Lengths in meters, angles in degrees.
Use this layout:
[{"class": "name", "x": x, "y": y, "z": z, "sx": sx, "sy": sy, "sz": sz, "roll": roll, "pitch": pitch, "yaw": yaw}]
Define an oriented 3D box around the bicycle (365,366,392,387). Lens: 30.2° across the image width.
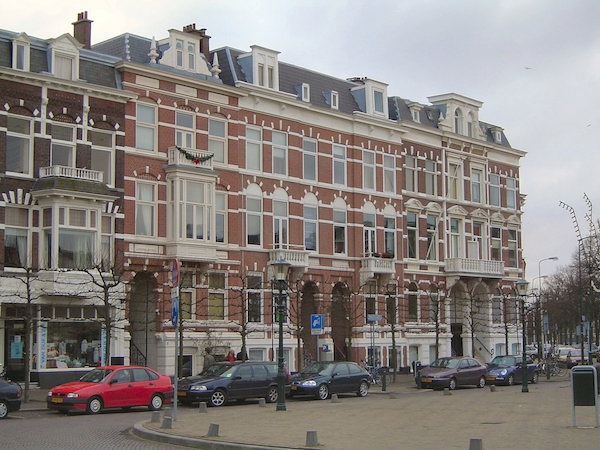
[{"class": "bicycle", "x": 4.329, "y": 8.342, "z": 61.820, "sx": 2.107, "sy": 1.211, "sz": 1.028, "roll": 13, "pitch": -17, "yaw": -41}]
